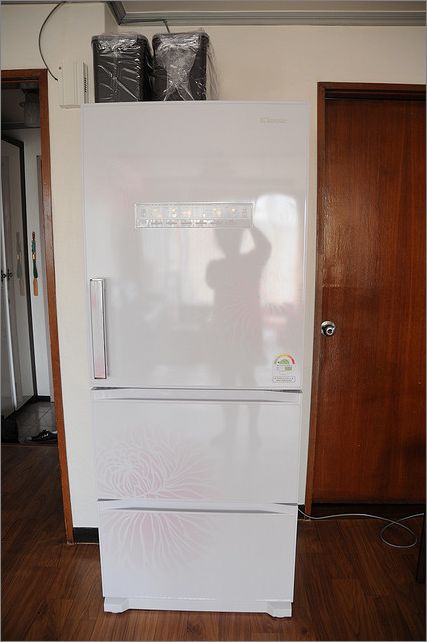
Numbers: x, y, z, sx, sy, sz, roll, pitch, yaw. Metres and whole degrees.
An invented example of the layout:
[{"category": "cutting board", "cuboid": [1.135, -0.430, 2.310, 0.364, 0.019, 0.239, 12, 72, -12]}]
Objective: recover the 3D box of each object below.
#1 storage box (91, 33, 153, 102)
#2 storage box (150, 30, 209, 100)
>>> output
[{"category": "storage box", "cuboid": [-0.289, -0.850, 1.744, 0.202, 0.198, 0.317, 5, 8, 6]}, {"category": "storage box", "cuboid": [-0.099, -0.837, 1.754, 0.204, 0.211, 0.329, 2, -2, 5]}]
